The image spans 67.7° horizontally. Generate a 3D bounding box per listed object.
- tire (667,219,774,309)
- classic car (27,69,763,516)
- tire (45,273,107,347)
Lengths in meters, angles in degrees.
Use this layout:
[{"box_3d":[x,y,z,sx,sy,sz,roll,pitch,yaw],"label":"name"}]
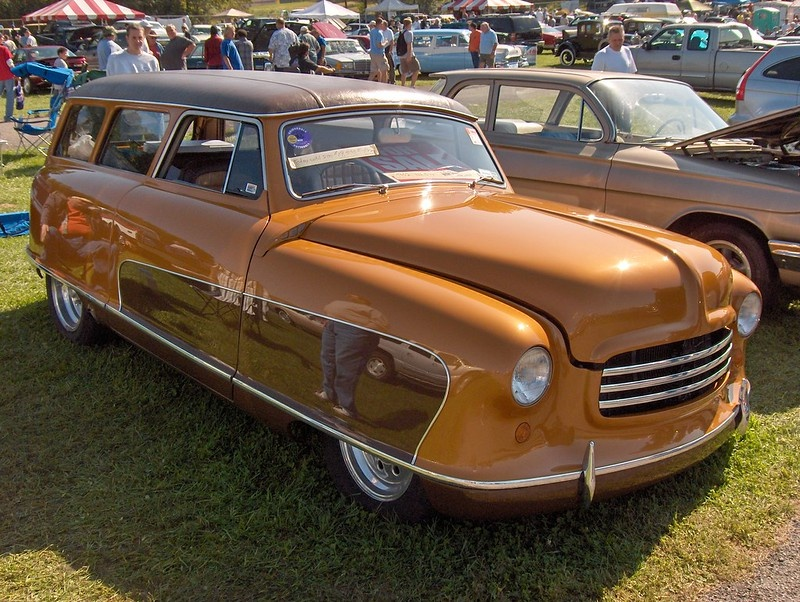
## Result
[{"box_3d":[2.958,-0.257,5.355,0.318,0.863,0.923,-10,-1,-22],"label":"tire"},{"box_3d":[-0.702,-0.367,3.872,4.685,1.490,2.317,20,30,37],"label":"classic car"},{"box_3d":[-2.570,0.020,4.957,0.643,0.576,0.189,-2,15,29],"label":"tire"}]
